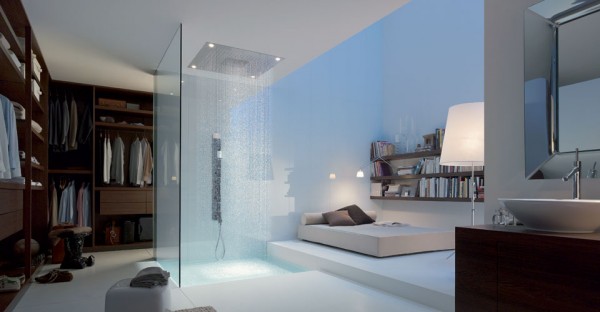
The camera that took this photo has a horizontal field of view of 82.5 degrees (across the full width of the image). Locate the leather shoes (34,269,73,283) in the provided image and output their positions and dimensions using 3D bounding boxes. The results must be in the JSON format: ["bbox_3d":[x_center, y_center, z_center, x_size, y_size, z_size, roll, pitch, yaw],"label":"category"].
[{"bbox_3d":[-4.209,2.076,5.868,0.452,0.151,0.245,6,-12,-13],"label":"leather shoes"}]

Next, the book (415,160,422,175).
[{"bbox_3d":[2.922,0.266,8.429,0.078,0.287,0.310,18,9,10],"label":"book"}]

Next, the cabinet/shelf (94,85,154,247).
[{"bbox_3d":[-4.192,0.257,8.080,1.264,3.718,0.906,0,0,-23],"label":"cabinet/shelf"}]

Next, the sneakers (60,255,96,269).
[{"bbox_3d":[-4.256,2.024,6.534,0.551,0.204,0.306,0,0,-34],"label":"sneakers"}]

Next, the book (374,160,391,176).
[{"bbox_3d":[2.156,0.306,8.966,0.441,0.376,0.135,-3,-8,-2],"label":"book"}]

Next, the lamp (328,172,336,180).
[{"bbox_3d":[0.801,0.495,8.510,0.177,0.102,0.163,-1,2,8],"label":"lamp"}]

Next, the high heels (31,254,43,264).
[{"bbox_3d":[-4.992,1.954,6.504,0.165,0.159,0.134,-6,-10,41],"label":"high heels"}]

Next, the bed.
[{"bbox_3d":[1.420,1.686,6.912,2.943,0.331,1.308,0,0,27],"label":"bed"}]

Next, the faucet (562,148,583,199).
[{"bbox_3d":[2.848,0.175,3.575,0.158,0.509,0.175,1,0,37],"label":"faucet"}]

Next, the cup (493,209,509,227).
[{"bbox_3d":[2.215,0.679,3.769,0.187,0.160,0.180,0,-2,0],"label":"cup"}]

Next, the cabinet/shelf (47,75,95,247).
[{"bbox_3d":[-5.136,0.174,7.728,0.897,3.675,0.996,0,0,-34],"label":"cabinet/shelf"}]

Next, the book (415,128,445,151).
[{"bbox_3d":[3.085,-0.402,8.061,0.385,0.592,0.679,3,-5,-32],"label":"book"}]

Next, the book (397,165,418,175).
[{"bbox_3d":[2.686,0.347,8.610,0.358,0.156,0.257,-3,-3,36],"label":"book"}]
